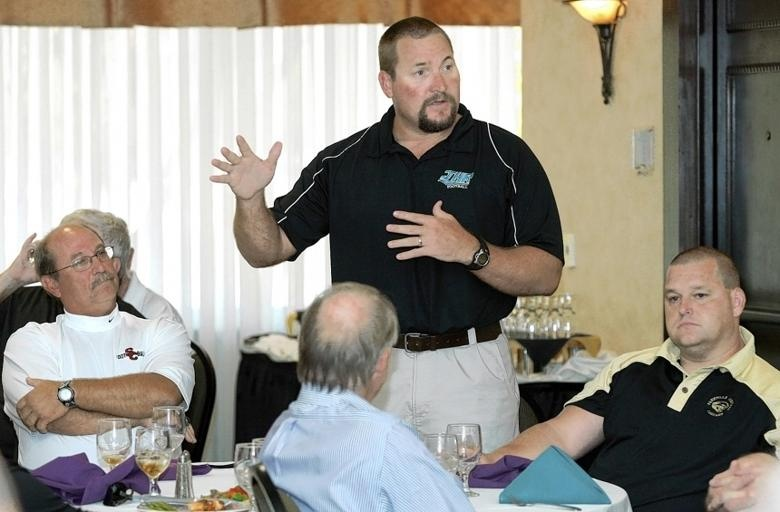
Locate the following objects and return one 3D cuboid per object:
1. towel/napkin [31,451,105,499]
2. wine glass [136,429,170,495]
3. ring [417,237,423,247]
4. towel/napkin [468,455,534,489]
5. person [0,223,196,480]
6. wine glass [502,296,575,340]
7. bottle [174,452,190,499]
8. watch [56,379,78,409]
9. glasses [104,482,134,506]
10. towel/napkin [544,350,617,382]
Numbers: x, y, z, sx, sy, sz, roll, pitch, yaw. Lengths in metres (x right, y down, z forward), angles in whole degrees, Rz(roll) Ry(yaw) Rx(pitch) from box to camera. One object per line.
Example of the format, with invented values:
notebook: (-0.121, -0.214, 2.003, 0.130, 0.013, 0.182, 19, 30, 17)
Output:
towel/napkin: (-1.134, 0.790, 2.909, 0.220, 0.134, 0.134, 1, 5, 9)
wine glass: (-0.842, 0.720, 2.891, 0.125, 0.241, 0.089, 2, 5, 21)
ring: (0.112, -0.059, 3.193, 0.021, 0.032, 0.010, -3, -4, 31)
towel/napkin: (0.387, 0.810, 3.033, 0.156, 0.062, 0.126, -3, -3, -2)
person: (-1.361, 0.432, 3.689, 0.954, 1.321, 0.712, -1, -24, -32)
wine glass: (0.898, 0.330, 4.949, 0.389, 0.426, 0.279, 0, 0, 11)
bottle: (-0.739, 0.783, 2.928, 0.063, 0.154, 0.195, -2, 5, -15)
watch: (-1.368, 0.586, 3.461, 0.072, 0.106, 0.046, -2, 6, -22)
glasses: (-0.947, 0.832, 2.847, 0.057, 0.086, 0.112, -7, -1, 30)
towel/napkin: (1.011, 0.624, 4.542, 0.218, 0.074, 0.222, -12, -1, -24)
